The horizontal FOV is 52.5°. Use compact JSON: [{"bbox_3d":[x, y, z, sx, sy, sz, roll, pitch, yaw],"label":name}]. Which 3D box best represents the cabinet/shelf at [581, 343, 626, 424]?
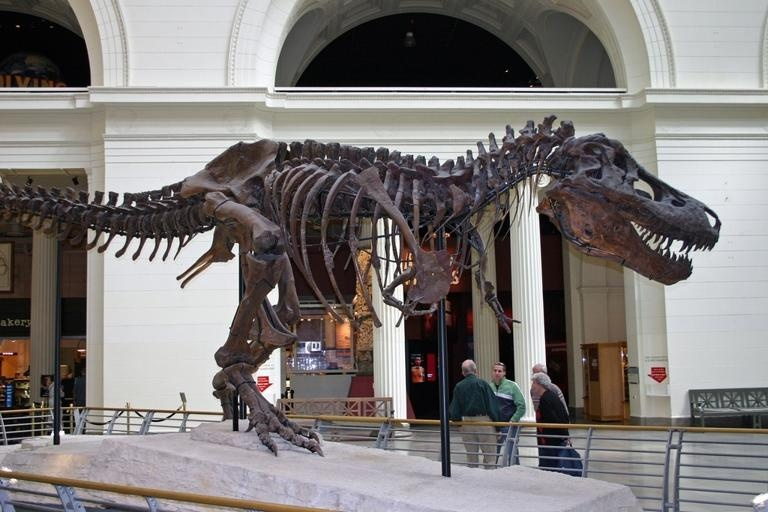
[{"bbox_3d":[6.522,3.660,22.636,1.216,1.960,1.235,-2,-10,8],"label":"cabinet/shelf"}]

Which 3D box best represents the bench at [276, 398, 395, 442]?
[{"bbox_3d":[-1.210,3.623,17.726,2.630,0.971,0.806,-1,-23,4],"label":"bench"}]
